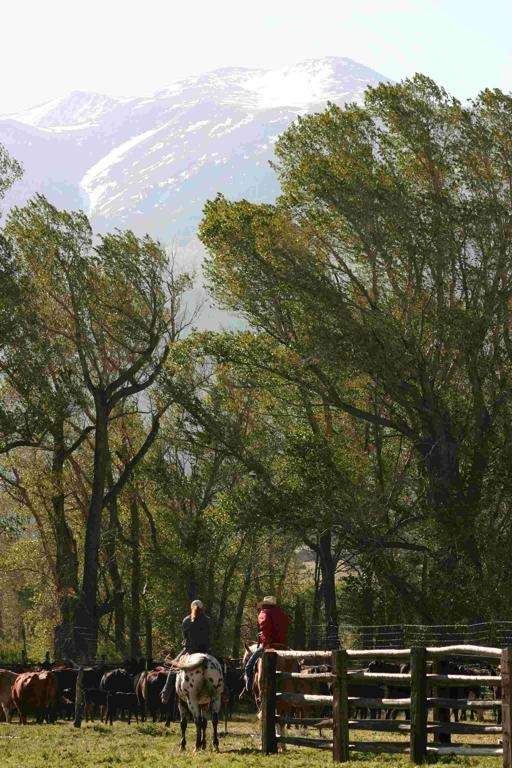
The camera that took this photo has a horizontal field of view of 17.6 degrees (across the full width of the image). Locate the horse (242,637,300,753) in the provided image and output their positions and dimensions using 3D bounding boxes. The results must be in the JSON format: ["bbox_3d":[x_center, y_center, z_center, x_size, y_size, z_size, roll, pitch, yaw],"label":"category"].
[{"bbox_3d":[0.559,8.045,43.196,1.106,2.877,1.156,2,-7,-16],"label":"horse"}]

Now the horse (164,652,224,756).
[{"bbox_3d":[-1.488,8.268,43.209,1.319,2.472,2.848,1,-9,-3],"label":"horse"}]
